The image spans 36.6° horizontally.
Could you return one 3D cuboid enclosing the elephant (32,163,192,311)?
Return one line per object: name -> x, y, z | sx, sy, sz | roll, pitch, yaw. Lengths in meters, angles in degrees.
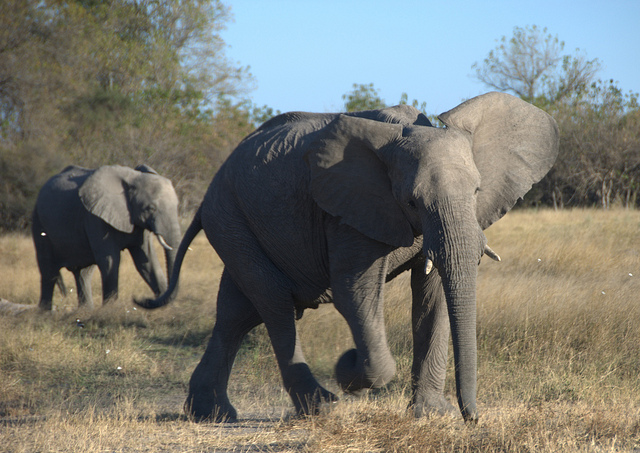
elephant -> -4.239, 0.261, 19.289 | 3.176, 3.128, 1.908 | 0, 7, 15
